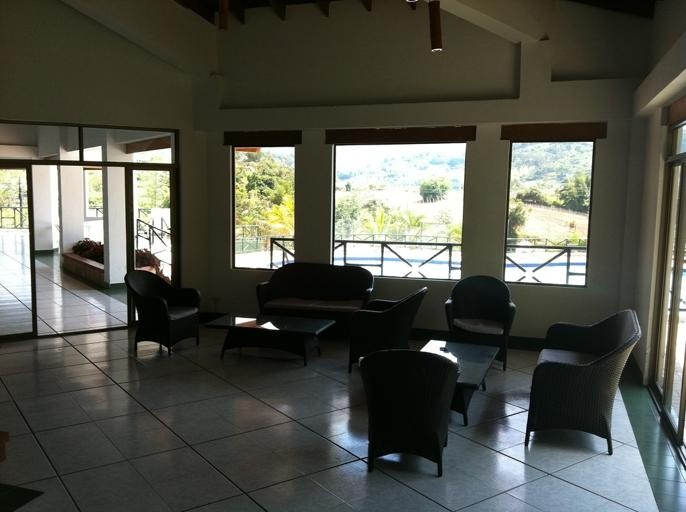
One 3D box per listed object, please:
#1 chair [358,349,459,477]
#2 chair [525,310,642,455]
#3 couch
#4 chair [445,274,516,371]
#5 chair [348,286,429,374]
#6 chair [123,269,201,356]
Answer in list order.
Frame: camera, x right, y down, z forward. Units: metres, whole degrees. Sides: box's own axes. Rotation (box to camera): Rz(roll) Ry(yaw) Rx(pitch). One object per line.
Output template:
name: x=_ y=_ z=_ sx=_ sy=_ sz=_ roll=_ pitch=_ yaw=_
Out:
chair: x=0.603 y=1.500 z=4.950 sx=1.009 sy=1.090 sz=1.084 roll=-2 pitch=-12 yaw=31
chair: x=2.747 y=1.286 z=5.848 sx=1.137 sy=1.102 sz=1.955 roll=-3 pitch=3 yaw=26
couch: x=-0.411 y=0.678 z=8.376 sx=1.783 sy=0.965 sz=0.918 roll=1 pitch=6 yaw=14
chair: x=1.940 y=0.924 z=7.373 sx=0.922 sy=1.146 sz=0.777 roll=3 pitch=6 yaw=13
chair: x=0.590 y=1.021 z=7.104 sx=0.944 sy=1.225 sz=0.976 roll=6 pitch=5 yaw=19
chair: x=-2.757 y=0.838 z=8.213 sx=1.192 sy=1.444 sz=1.206 roll=0 pitch=1 yaw=26
